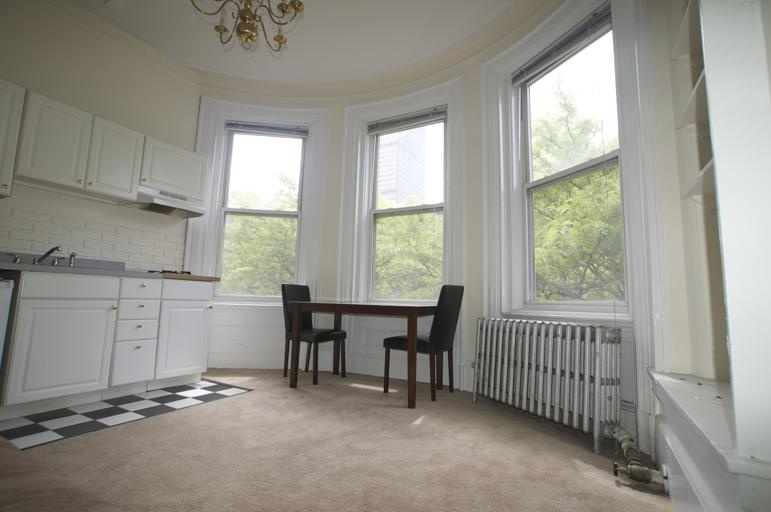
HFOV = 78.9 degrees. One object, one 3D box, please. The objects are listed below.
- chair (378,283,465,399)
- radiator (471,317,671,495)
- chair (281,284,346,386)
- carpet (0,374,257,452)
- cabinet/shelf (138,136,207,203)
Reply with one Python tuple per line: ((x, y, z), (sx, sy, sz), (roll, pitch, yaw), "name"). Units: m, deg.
((0.362, 0.769, 4.335), (0.643, 0.989, 0.571), (0, -4, 22), "chair")
((1.319, 0.885, 3.458), (0.468, 0.858, 1.686), (-2, 8, -29), "radiator")
((-0.762, 0.778, 4.859), (0.545, 0.940, 0.529), (0, -2, 32), "chair")
((-2.023, 1.218, 3.707), (0.650, 0.150, 1.580), (8, 9, 41), "carpet")
((-2.196, -0.850, 4.874), (0.477, 0.688, 0.800), (-5, -7, 38), "cabinet/shelf")
